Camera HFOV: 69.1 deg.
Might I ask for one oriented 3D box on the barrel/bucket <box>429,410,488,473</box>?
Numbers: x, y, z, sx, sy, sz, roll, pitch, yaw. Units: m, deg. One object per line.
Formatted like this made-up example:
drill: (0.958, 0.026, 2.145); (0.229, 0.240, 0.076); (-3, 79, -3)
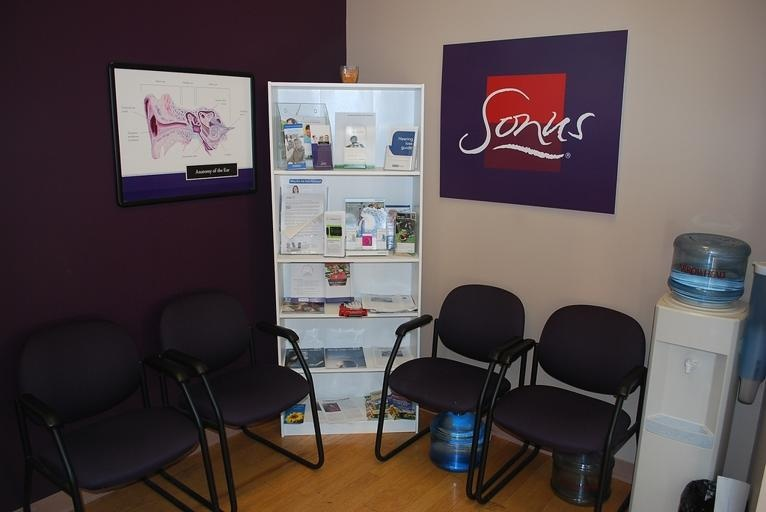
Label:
barrel/bucket: (0.528, 1.297, 4.024); (0.388, 0.412, 0.388); (3, 12, -1)

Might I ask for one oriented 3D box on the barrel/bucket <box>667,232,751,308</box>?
barrel/bucket: (1.821, 0.060, 3.221); (0.406, 0.363, 0.424); (2, 5, 0)

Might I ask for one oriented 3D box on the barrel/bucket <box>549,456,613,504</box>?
barrel/bucket: (1.285, 1.404, 3.733); (0.355, 0.389, 0.354); (2, 0, 0)

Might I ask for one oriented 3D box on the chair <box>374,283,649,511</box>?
chair: (0.876, 0.942, 3.682); (1.504, 1.239, 0.770); (7, 17, 26)

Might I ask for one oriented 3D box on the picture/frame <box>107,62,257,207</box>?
picture/frame: (-1.367, -0.825, 3.696); (0.995, 0.827, 0.076); (-11, 17, -43)
